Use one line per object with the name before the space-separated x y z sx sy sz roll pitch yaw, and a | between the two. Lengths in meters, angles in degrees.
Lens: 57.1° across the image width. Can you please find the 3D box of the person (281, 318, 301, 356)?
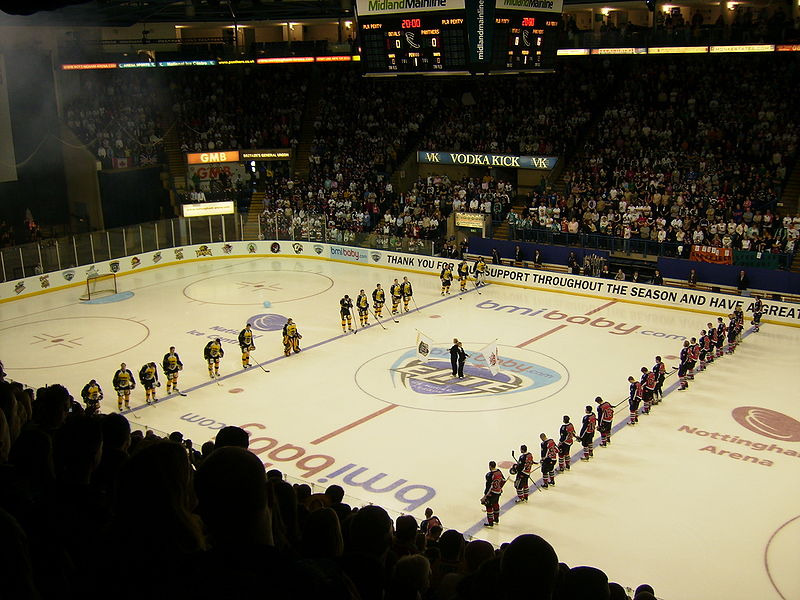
person | -3.900 1.138 26.679 0.619 1.400 2.055 -1 13 -8

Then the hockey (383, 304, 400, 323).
hockey | -0.279 0.535 30.473 0.553 0.199 0.768 -5 18 -13

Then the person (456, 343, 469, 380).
person | 2.047 2.067 24.318 0.319 1.279 0.555 -11 33 -8

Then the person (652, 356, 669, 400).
person | 7.843 2.386 22.125 0.421 1.416 0.622 0 32 10
